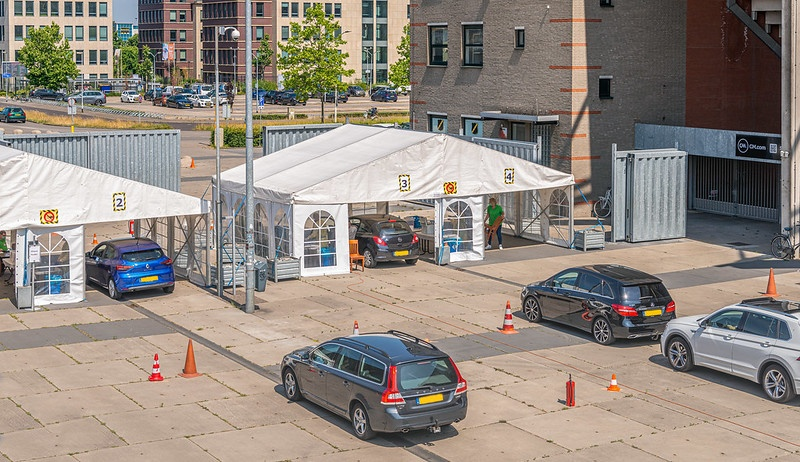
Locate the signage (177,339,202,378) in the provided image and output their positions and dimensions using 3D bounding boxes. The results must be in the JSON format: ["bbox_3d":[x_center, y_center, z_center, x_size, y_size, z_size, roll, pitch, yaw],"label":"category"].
[{"bbox_3d":[-8.049,4.974,47.176,1.120,1.211,1.167,-2,0,19],"label":"signage"}]

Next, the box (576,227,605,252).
[{"bbox_3d":[9.272,0.424,60.814,1.219,0.849,1.191,-3,7,-26],"label":"box"}]

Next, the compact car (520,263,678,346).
[{"bbox_3d":[7.944,2.782,50.106,2.776,2.044,5.749,-9,15,-43],"label":"compact car"}]

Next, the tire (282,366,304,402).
[{"bbox_3d":[-3.882,5.713,45.508,0.407,1.085,1.162,-3,0,-28],"label":"tire"}]

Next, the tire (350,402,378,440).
[{"bbox_3d":[-1.237,6.792,43.646,0.424,1.155,1.226,-1,9,-28],"label":"tire"}]

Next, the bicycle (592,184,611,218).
[{"bbox_3d":[11.301,-1.541,68.076,0.899,1.574,1.388,2,10,13],"label":"bicycle"}]

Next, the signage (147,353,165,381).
[{"bbox_3d":[-9.410,5.140,47.161,0.560,1.016,1.389,-2,10,-11],"label":"signage"}]

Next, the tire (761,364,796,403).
[{"bbox_3d":[14.003,5.594,45.035,0.556,1.439,1.419,-10,1,-37],"label":"tire"}]

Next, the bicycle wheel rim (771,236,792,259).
[{"bbox_3d":[18.400,0.784,58.786,1.059,1.123,0.496,2,10,14],"label":"bicycle wheel rim"}]

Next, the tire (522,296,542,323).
[{"bbox_3d":[5.550,3.266,51.049,0.369,0.847,0.876,-12,-15,-43],"label":"tire"}]

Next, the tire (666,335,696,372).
[{"bbox_3d":[10.899,4.762,47.234,0.456,1.277,1.347,-2,-7,-27],"label":"tire"}]

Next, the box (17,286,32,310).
[{"bbox_3d":[-16.058,2.862,52.500,0.655,0.972,0.234,-3,10,-12],"label":"box"}]

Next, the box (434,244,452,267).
[{"bbox_3d":[2.078,1.219,58.406,0.901,1.472,0.923,1,3,1],"label":"box"}]

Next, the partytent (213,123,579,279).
[{"bbox_3d":[0.099,-1.975,61.763,16.506,6.367,8.657,-4,10,-19],"label":"partytent"}]

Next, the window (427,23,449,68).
[{"bbox_3d":[2.395,-11.511,75.176,0.527,3.063,2.836,-6,8,-38],"label":"window"}]

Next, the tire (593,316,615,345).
[{"bbox_3d":[8.240,3.989,49.027,0.360,0.885,0.927,-7,32,-42],"label":"tire"}]

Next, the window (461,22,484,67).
[{"bbox_3d":[4.430,-11.029,72.613,0.260,2.524,2.235,-5,9,-30],"label":"window"}]
